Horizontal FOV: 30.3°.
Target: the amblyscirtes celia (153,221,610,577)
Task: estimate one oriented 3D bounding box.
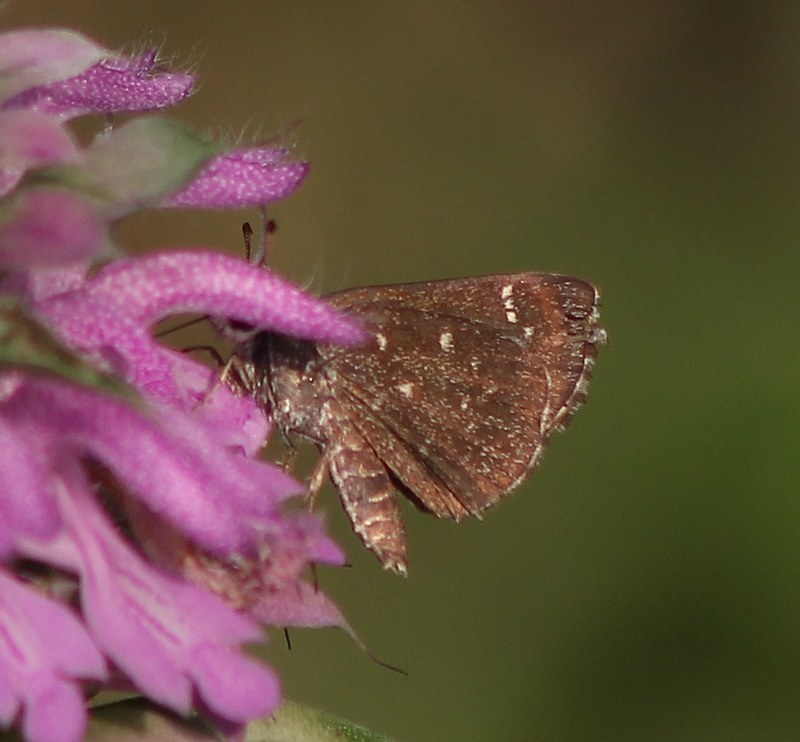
[{"bbox_3d":[0.013,0.009,0.748,0.184,0.150,0.215,-4,-19,44],"label":"amblyscirtes celia"}]
